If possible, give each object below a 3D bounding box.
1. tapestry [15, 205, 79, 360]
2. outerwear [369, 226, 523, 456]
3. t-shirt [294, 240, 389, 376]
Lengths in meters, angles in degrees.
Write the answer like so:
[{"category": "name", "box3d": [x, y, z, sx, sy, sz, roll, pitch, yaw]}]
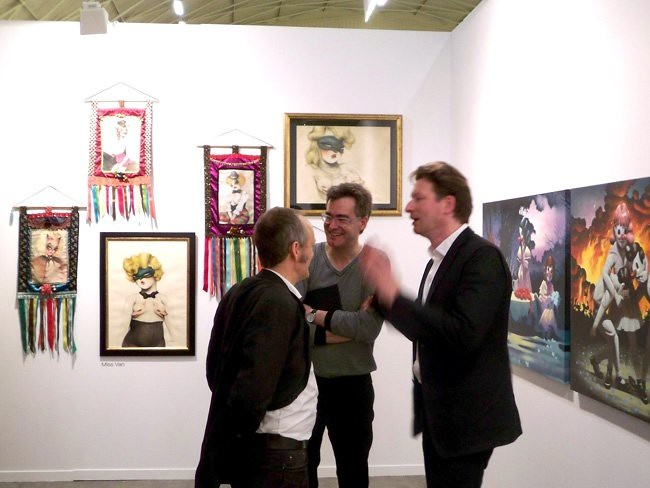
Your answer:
[{"category": "tapestry", "box3d": [-2.403, 0.322, 5.001, 0.500, 1.312, 0.092, 1, 4, -3]}, {"category": "outerwear", "box3d": [0.724, 0.560, 3.622, 0.961, 1.618, 1.021, 0, -3, 2]}, {"category": "t-shirt", "box3d": [0.076, 0.444, 3.798, 0.613, 0.846, 0.451, 4, 16, 2]}]
